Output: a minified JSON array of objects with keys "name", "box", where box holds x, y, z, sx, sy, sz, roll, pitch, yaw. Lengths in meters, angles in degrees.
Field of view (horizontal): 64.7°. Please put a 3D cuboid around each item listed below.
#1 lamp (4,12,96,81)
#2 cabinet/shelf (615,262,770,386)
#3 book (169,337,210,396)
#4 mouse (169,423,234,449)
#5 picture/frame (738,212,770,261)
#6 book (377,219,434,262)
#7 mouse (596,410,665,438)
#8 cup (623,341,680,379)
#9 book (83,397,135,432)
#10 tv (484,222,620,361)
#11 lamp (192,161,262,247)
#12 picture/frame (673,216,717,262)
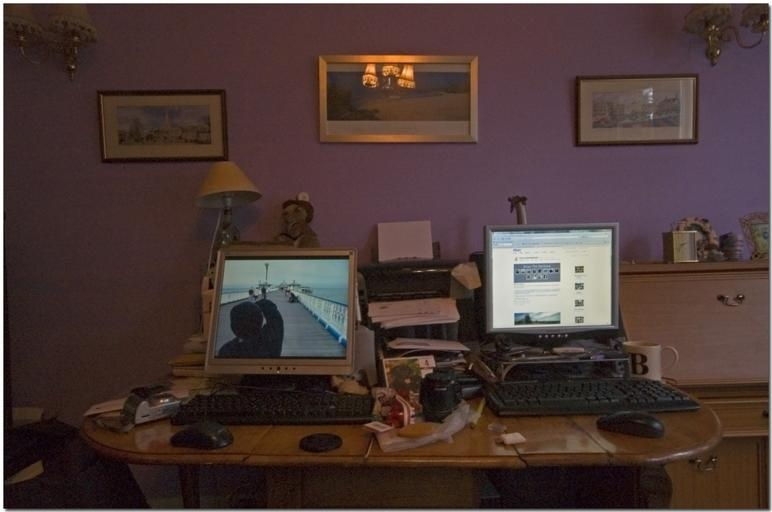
[{"name":"lamp","box":[-1.848,-1.156,3.331,0.440,0.327,0.252,2,8,2]},{"name":"cabinet/shelf","box":[1.550,0.329,3.408,1.035,0.753,0.590,0,-2,3]},{"name":"book","box":[-0.905,0.522,2.923,0.240,0.219,0.079,-7,-24,21]},{"name":"mouse","box":[-0.769,0.729,2.504,0.195,0.056,0.116,3,1,5]},{"name":"picture/frame","box":[2.008,-0.111,3.317,0.139,0.242,0.278,2,6,30]},{"name":"book","box":[0.097,-0.076,3.253,0.264,0.143,0.235,0,-4,-6]},{"name":"mouse","box":[1.014,0.683,2.531,0.211,0.065,0.114,3,-2,24]},{"name":"cup","box":[1.307,0.489,2.953,0.314,0.186,0.185,6,-6,-15]},{"name":"book","box":[-1.207,0.678,2.650,0.155,0.051,0.163,-8,23,-15]},{"name":"tv","box":[0.769,0.178,2.869,0.727,0.579,0.095,0,-4,-1]},{"name":"lamp","box":[-0.852,-0.294,3.323,0.331,0.441,0.329,-2,5,-9]},{"name":"picture/frame","box":[1.703,-0.095,3.348,0.226,0.227,0.240,1,6,25]}]
